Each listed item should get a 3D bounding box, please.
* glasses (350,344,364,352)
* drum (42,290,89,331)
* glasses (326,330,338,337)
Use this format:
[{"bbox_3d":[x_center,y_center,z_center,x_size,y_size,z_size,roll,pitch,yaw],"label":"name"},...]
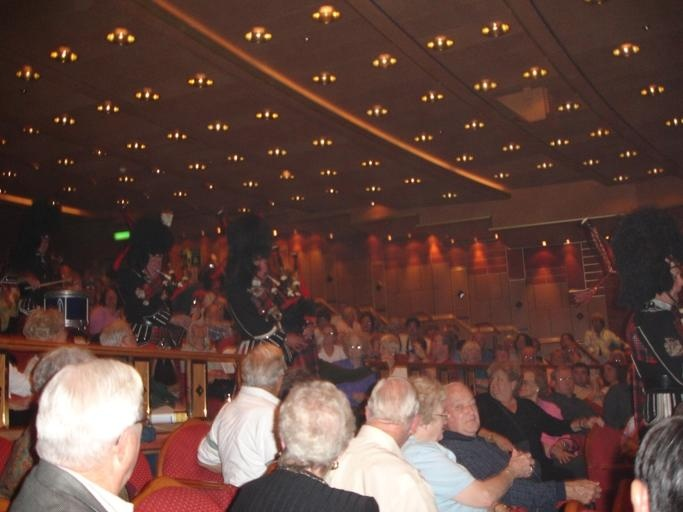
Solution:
[{"bbox_3d":[0.296,1.726,11.551,0.226,0.142,0.097,0,-10,-2],"label":"glasses"},{"bbox_3d":[-2.333,0.488,5.186,0.322,0.316,0.318,1,-20,-42],"label":"drum"},{"bbox_3d":[-0.175,1.523,12.131,0.207,0.119,0.054,10,-14,-44],"label":"glasses"}]
